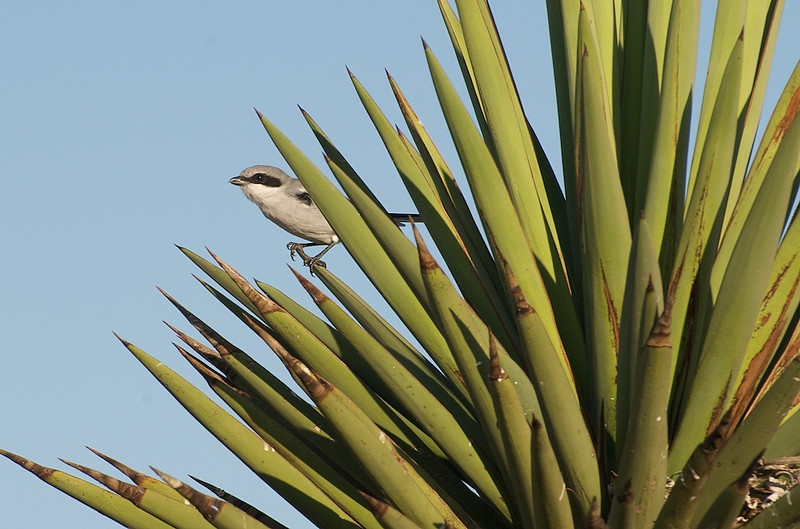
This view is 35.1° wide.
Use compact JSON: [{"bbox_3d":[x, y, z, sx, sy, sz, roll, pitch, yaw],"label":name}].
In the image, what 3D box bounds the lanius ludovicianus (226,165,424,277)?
[{"bbox_3d":[-0.525,-0.377,9.804,1.670,0.507,0.748,1,-87,-22],"label":"lanius ludovicianus"}]
